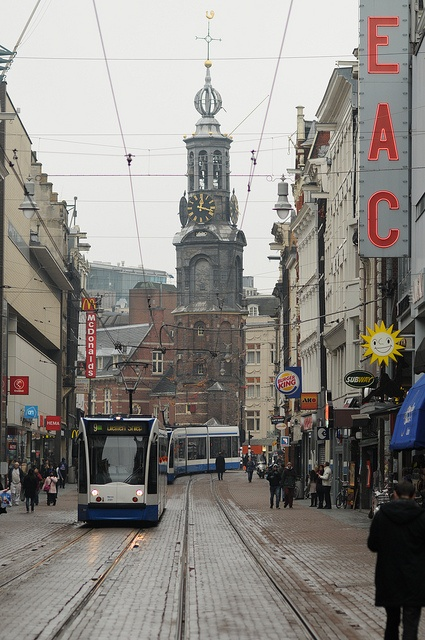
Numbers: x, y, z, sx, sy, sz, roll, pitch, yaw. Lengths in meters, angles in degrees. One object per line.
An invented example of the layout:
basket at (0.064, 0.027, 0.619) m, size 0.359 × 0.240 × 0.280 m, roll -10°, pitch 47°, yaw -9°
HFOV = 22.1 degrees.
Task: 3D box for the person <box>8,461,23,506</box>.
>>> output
person at (-6.477, 5.434, 35.495) m, size 0.384 × 1.141 × 3.787 m, roll 1°, pitch -17°, yaw -10°

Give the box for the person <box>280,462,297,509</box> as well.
person at (2.306, 5.119, 33.578) m, size 0.436 × 1.469 × 1.325 m, roll -2°, pitch -14°, yaw 3°

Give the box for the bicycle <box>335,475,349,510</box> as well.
bicycle at (4.162, 5.685, 34.900) m, size 0.381 × 0.727 × 0.976 m, roll 1°, pitch -10°, yaw 1°
